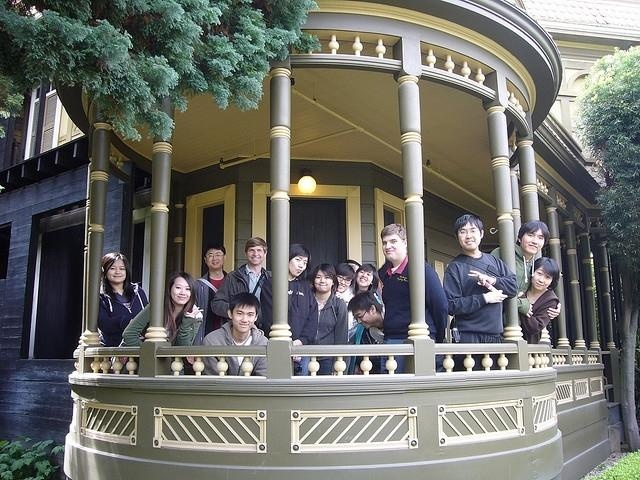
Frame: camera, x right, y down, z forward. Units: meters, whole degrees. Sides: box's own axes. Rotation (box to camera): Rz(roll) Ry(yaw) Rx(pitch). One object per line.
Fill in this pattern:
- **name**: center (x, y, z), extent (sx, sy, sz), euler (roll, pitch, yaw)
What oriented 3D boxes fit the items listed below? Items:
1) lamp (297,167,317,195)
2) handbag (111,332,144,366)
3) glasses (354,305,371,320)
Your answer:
- **lamp**: center (-0.199, -0.947, 8.394), extent (0.354, 0.537, 0.370), euler (2, -18, -14)
- **handbag**: center (-2.026, 1.169, 5.328), extent (0.325, 0.459, 0.243), euler (-7, -18, 43)
- **glasses**: center (0.449, 0.812, 5.528), extent (0.112, 0.081, 0.147), euler (-22, -14, 39)
